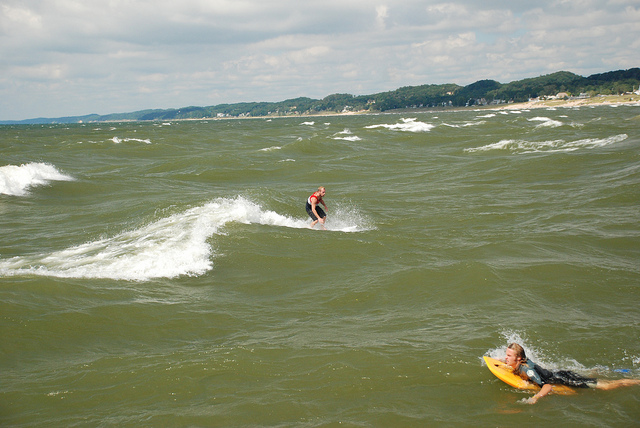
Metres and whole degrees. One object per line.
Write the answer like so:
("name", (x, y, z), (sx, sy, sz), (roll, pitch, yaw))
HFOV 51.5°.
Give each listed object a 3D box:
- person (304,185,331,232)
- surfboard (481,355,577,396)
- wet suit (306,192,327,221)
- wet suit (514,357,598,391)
("person", (-0.142, -0.170, 30.501), (1.142, 2.105, 1.167), (5, 60, 9))
("surfboard", (5.894, 4.513, 18.797), (2.095, 0.305, 0.996), (14, 5, 5))
("wet suit", (-0.288, -0.356, 29.431), (0.628, 1.218, 0.839), (-24, 21, -39))
("wet suit", (6.660, 4.524, 18.655), (1.887, 0.323, 0.943), (-2, 7, 6))
